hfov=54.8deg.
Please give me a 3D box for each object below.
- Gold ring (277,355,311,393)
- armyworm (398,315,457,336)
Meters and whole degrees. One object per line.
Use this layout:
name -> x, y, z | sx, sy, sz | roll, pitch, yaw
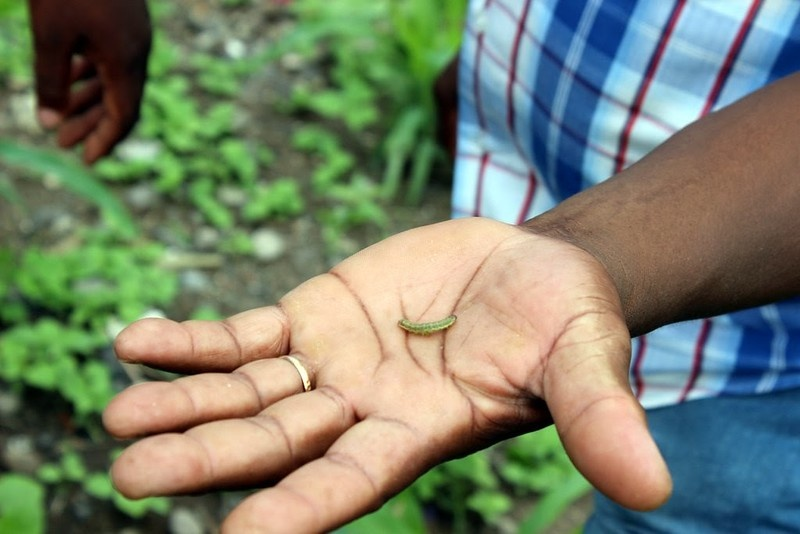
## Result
Gold ring -> -0.367, 0.386, 2.777 | 0.030, 0.116, 0.117 | -24, -69, 5
armyworm -> 0.099, 0.224, 2.899 | 0.210, 0.079, 0.066 | -7, -73, 10
